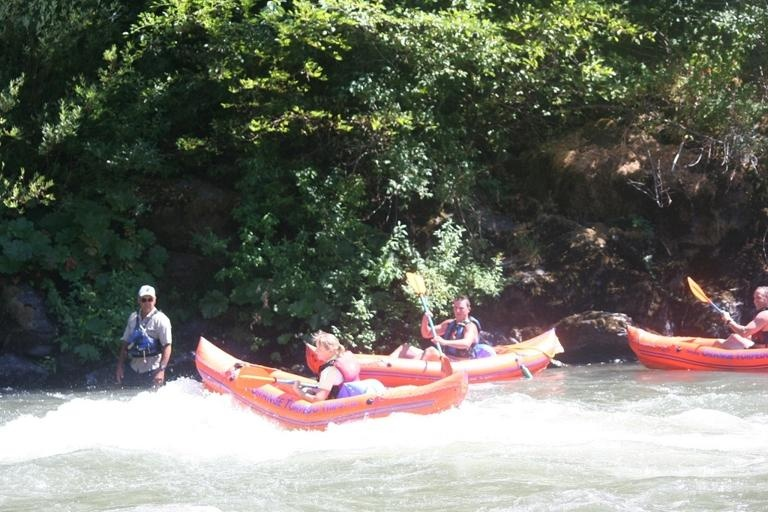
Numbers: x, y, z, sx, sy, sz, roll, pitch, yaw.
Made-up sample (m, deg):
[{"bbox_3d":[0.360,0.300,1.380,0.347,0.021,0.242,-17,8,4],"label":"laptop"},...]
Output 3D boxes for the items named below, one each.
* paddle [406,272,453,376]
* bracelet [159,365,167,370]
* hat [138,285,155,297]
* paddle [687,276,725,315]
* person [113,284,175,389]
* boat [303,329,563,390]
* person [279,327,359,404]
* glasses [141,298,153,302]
[{"bbox_3d":[0.959,1.360,20.422,0.362,2.798,0.189,5,42,30],"label":"paddle"},{"bbox_3d":[-3.998,2.041,17.956,0.128,0.136,0.129,4,5,-6],"label":"bracelet"},{"bbox_3d":[-4.311,0.637,18.064,0.237,0.198,0.372,3,-11,-16],"label":"hat"},{"bbox_3d":[7.315,0.932,22.655,1.434,0.300,0.146,35,-9,-32],"label":"paddle"},{"bbox_3d":[-4.360,1.446,18.054,0.990,1.775,0.449,-3,-3,27],"label":"person"},{"bbox_3d":[1.570,2.125,19.658,4.121,0.978,1.863,0,-6,-25],"label":"boat"},{"bbox_3d":[-1.009,1.981,17.128,0.912,1.285,0.877,6,20,20],"label":"person"},{"bbox_3d":[-4.266,0.786,17.920,0.171,0.093,0.100,0,-3,-15],"label":"glasses"}]
